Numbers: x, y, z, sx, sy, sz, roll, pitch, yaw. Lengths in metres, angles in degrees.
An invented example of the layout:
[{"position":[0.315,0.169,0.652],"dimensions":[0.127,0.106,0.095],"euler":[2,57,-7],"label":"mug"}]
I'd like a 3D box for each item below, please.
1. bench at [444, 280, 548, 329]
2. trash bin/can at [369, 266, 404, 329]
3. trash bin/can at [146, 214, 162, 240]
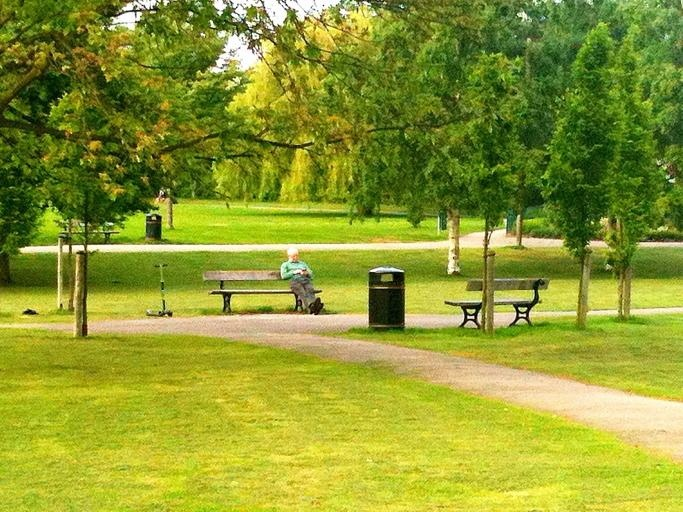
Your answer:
[{"position":[4.052,1.229,40.789],"dimensions":[2.885,1.138,1.232],"euler":[0,-6,-41],"label":"bench"},{"position":[1.156,1.036,39.063],"dimensions":[0.736,1.462,0.793],"euler":[1,4,-22],"label":"trash bin/can"},{"position":[-8.068,-1.164,69.630],"dimensions":[0.674,1.186,1.087],"euler":[-2,15,-8],"label":"trash bin/can"}]
